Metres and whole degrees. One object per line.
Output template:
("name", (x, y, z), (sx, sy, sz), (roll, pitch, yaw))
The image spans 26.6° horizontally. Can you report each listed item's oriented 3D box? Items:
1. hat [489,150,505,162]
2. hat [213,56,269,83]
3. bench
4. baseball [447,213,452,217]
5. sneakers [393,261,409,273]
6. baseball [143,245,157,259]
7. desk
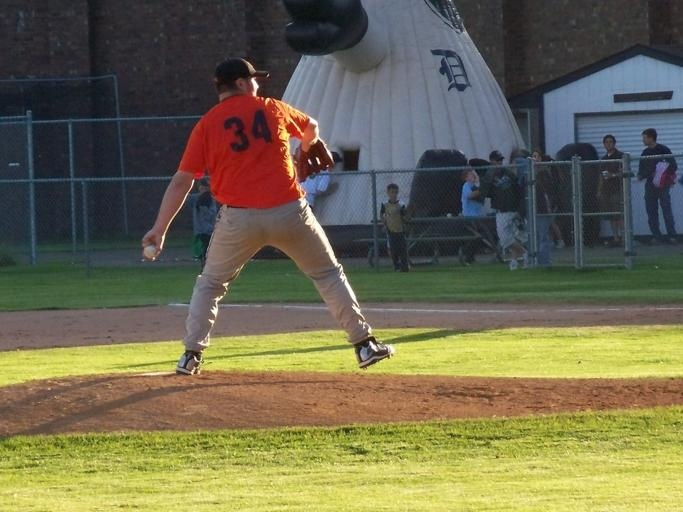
("hat", (3.095, -2.023, 29.366), (0.245, 0.168, 0.328), (-13, 10, -37))
("hat", (-1.312, -2.318, 18.090), (0.590, 0.211, 0.358), (-11, 17, -28))
("bench", (1.872, -0.112, 29.390), (1.508, 0.301, 1.108), (4, 13, 25))
("baseball", (2.151, -0.811, 28.675), (0.108, 0.094, 0.124), (-1, 0, 2))
("sneakers", (1.127, 0.200, 27.482), (0.264, 0.229, 0.186), (-2, 7, -16))
("baseball", (-2.404, -0.043, 17.862), (0.177, 0.165, 0.148), (-6, 14, -8))
("desk", (2.161, -0.370, 28.896), (2.049, 1.134, 0.452), (1, -16, 0))
